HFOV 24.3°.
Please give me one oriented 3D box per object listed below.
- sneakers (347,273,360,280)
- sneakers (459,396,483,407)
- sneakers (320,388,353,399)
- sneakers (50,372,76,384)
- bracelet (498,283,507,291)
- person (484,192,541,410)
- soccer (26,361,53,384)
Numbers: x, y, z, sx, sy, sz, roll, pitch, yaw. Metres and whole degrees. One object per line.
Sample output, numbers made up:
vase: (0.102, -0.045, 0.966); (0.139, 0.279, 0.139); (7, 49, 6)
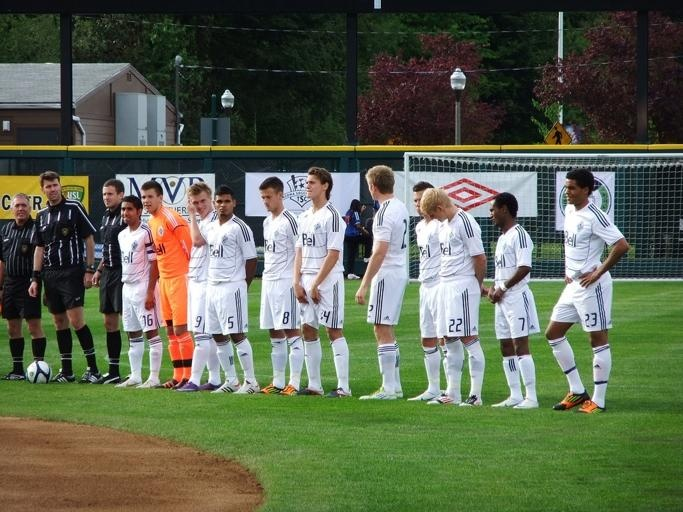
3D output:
sneakers: (0.321, 0.545, 41.816); (0.348, 0.141, 0.124); (1, 4, -37)
sneakers: (2.360, 2.685, 28.984); (0.476, 0.180, 0.158); (0, -3, 4)
sneakers: (-0.069, 2.563, 29.392); (0.507, 0.181, 0.178); (1, -6, -5)
sneakers: (-5.357, 2.355, 30.518); (0.507, 0.218, 0.167); (4, -5, -6)
bracelet: (2.923, 0.580, 28.718); (0.119, 0.082, 0.114); (-3, 9, -31)
person: (3.121, 0.815, 28.807); (0.843, 3.945, 0.398); (-2, -2, 6)
soccer: (-5.828, 2.233, 30.431); (0.373, 0.465, 0.452); (5, -46, -41)
